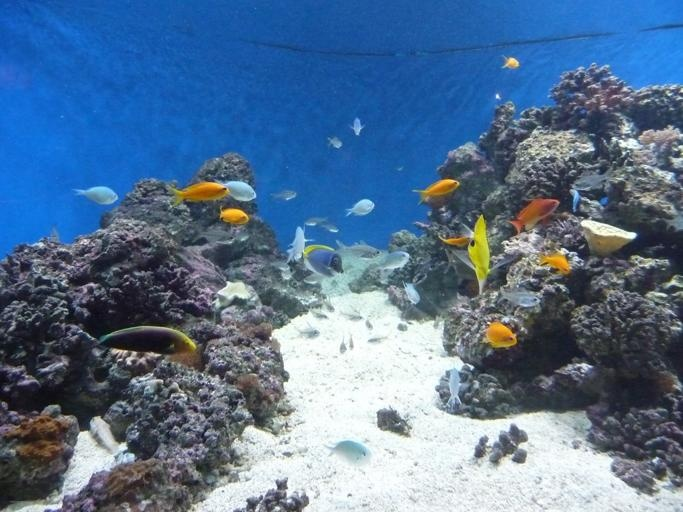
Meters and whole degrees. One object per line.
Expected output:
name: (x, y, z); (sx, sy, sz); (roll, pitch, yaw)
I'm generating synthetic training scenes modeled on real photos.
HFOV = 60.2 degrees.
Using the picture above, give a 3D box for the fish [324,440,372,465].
fish: (0.197, 3.805, 11.576); (0.607, 0.166, 0.527); (23, 27, 12)
